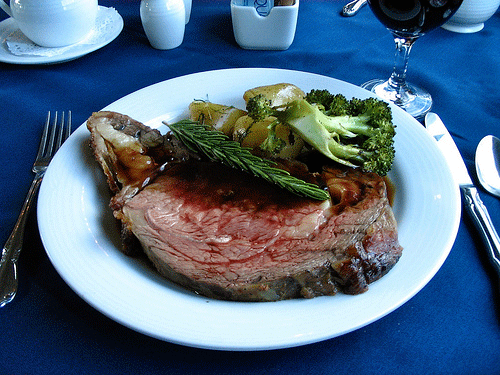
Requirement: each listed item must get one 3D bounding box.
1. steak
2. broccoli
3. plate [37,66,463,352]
[{"bbox_3d":[-0.121,0.017,1.445,1.108,0.127,0.489,22,71,25],"label":"steak"},{"bbox_3d":[0.331,-0.229,1.507,0.446,0.177,0.227,22,86,30],"label":"broccoli"},{"bbox_3d":[-0.014,0.000,1.409,1.244,0.221,0.995,12,59,2],"label":"plate"}]
